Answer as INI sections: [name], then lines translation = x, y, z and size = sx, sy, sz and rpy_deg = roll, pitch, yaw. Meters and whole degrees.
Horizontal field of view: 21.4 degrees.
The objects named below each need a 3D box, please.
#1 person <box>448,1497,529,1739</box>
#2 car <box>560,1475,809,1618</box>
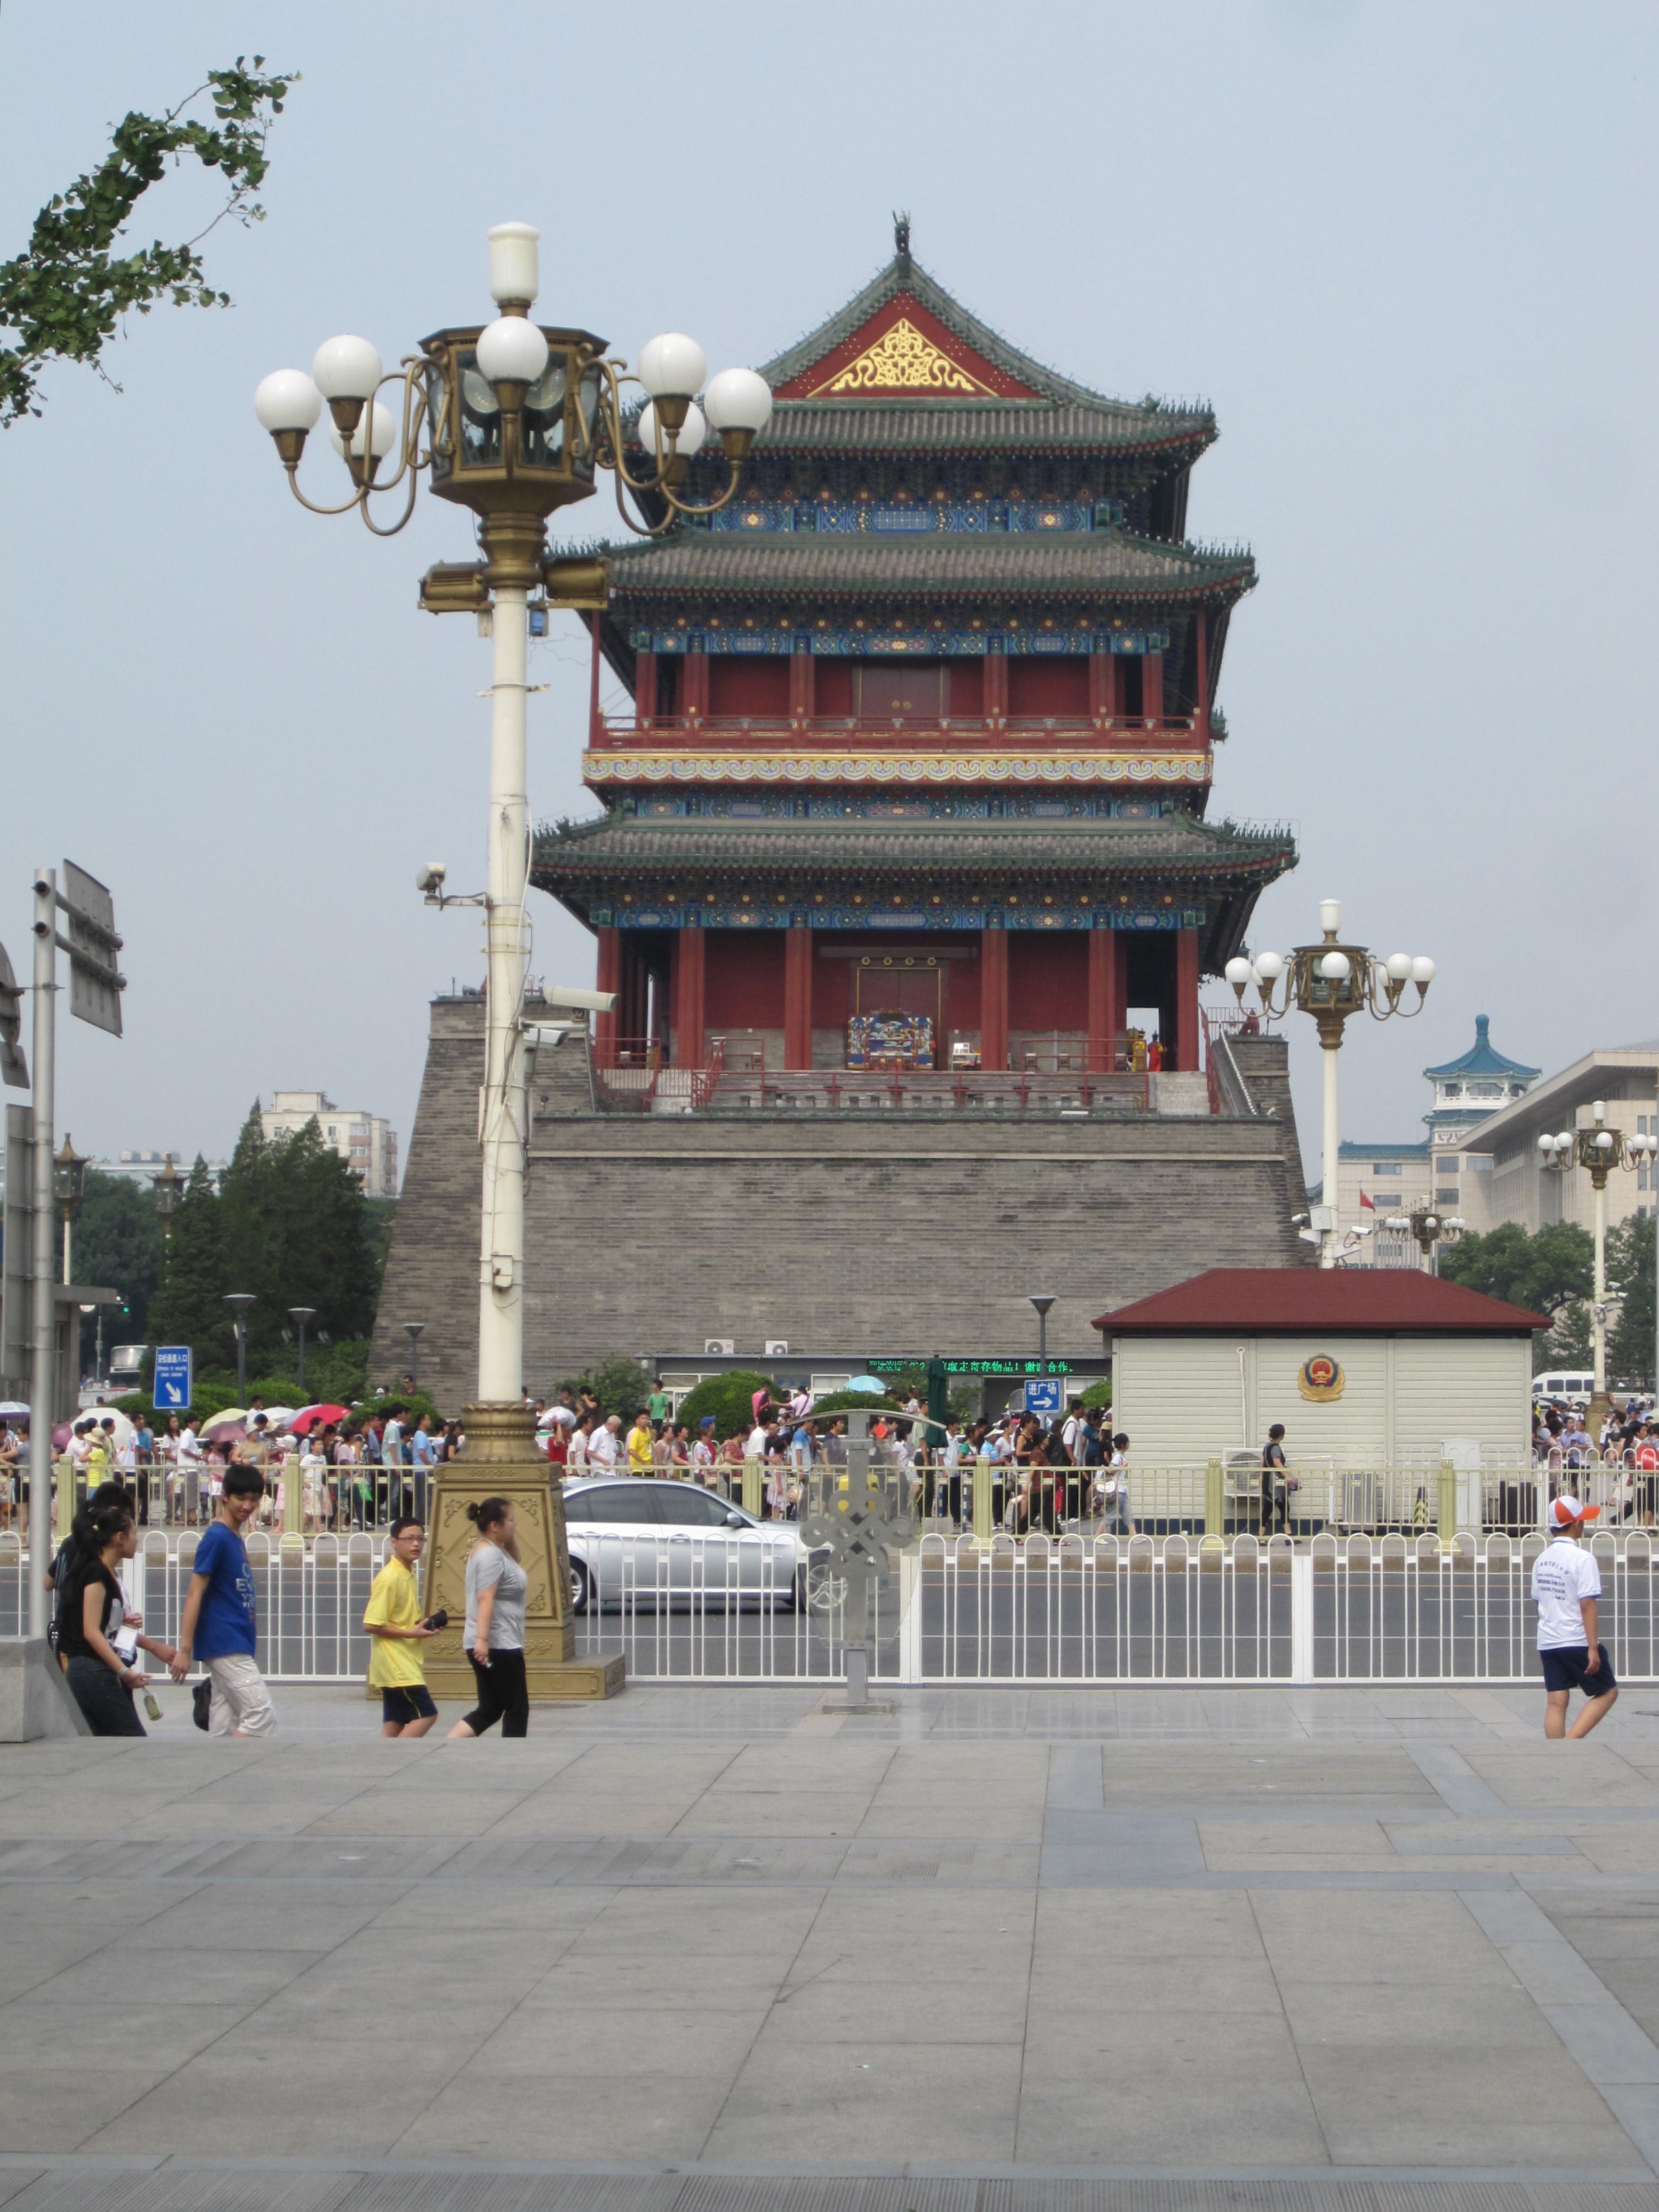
[person]
translation = -1.456, 2.217, 18.940
size = 0.289, 1.032, 0.723
rpy_deg = 0, -8, -5
[car]
translation = -1.020, 3.055, 30.671
size = 2.107, 0.777, 0.952
rpy_deg = 0, 0, 5
